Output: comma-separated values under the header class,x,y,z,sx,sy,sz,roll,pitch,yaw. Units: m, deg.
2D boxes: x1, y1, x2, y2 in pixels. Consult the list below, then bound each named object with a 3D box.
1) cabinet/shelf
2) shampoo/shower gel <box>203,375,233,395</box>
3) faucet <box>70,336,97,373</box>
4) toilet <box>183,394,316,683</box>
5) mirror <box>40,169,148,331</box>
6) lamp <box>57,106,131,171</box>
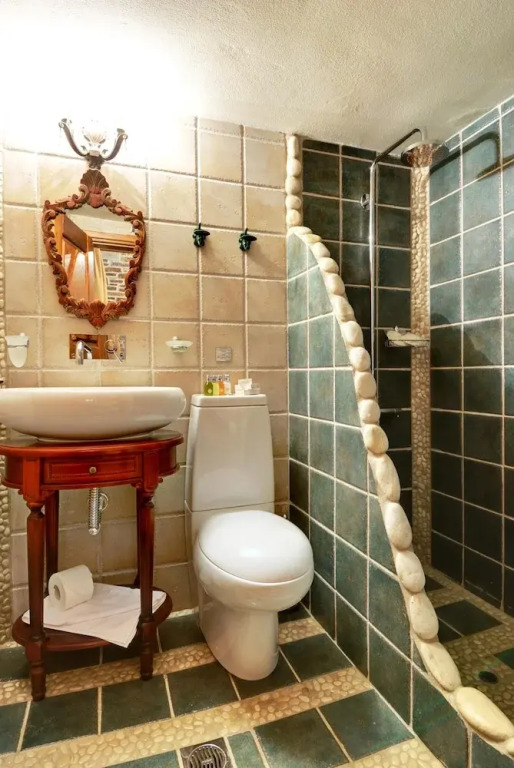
class,x,y,z,sx,sy,sz,roll,pitch,yaw
cabinet/shelf,-0.603,0.541,2.196,0.673,0.980,0.701,-3,4,-40
shampoo/shower gel,-0.145,0.010,2.307,0.105,0.073,0.151,-1,11,-4
faucet,-0.619,-0.114,2.148,0.095,0.140,0.090,0,-2,-17
toilet,-0.040,0.497,2.014,0.351,0.792,0.700,0,12,-15
mirror,-0.571,-0.483,2.173,0.375,0.584,0.023,0,-8,-23
lamp,-0.576,-0.872,2.179,0.244,0.163,0.258,15,17,-8
